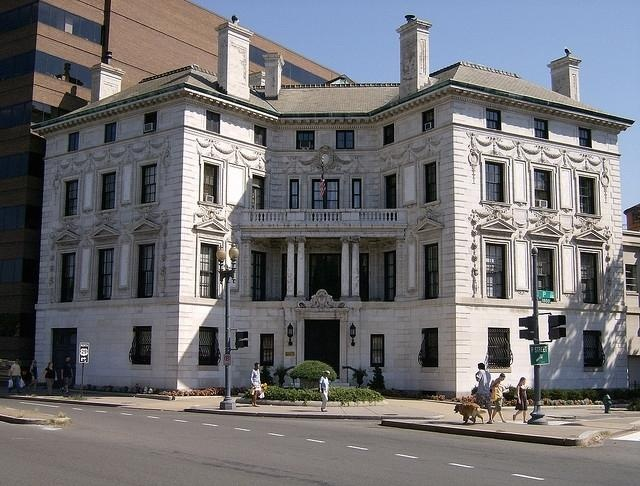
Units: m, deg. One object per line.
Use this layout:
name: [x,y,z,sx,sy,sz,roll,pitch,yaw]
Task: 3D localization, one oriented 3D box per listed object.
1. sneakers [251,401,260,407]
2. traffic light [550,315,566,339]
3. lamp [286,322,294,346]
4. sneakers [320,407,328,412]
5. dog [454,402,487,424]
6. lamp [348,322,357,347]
sneakers: [-3.369,8.449,45.809,0.193,0.209,0.561,0,-1,24]
traffic light: [10.895,3.838,40.023,0.720,1.158,2.249,-3,-11,13]
lamp: [-1.856,5.804,55.525,0.400,1.413,0.504,0,-11,-2]
sneakers: [0.213,8.315,43.479,0.205,0.231,0.600,0,-5,14]
dog: [6.900,7.764,39.838,1.225,0.887,2.515,-2,-11,10]
lamp: [2.117,5.789,55.197,0.481,1.454,0.350,0,-11,-1]
